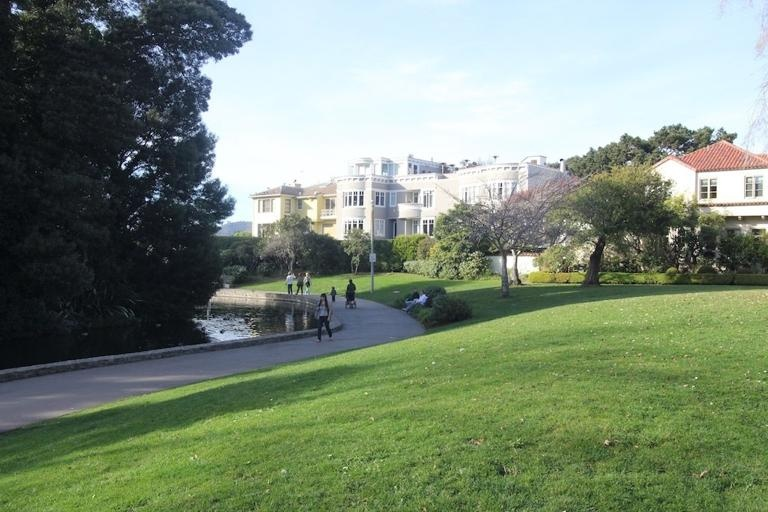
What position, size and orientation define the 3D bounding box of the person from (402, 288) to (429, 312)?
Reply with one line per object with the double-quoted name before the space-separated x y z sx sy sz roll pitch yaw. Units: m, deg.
"person" 1.874 2.618 38.049 1.065 0.367 1.288 10 30 43
